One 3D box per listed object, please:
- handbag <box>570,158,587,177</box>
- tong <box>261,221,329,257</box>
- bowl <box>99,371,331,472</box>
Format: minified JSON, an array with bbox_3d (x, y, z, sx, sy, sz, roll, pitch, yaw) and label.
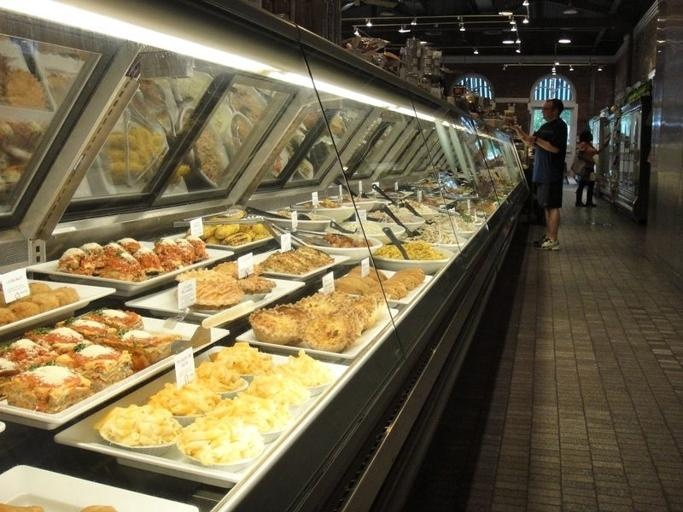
[{"bbox_3d":[6.063,-2.257,10.948,0.322,0.475,0.636,5,16,23],"label":"handbag"},{"bbox_3d":[-0.166,-0.057,1.536,0.271,0.045,0.043,22,25,20],"label":"tong"},{"bbox_3d":[-0.252,0.297,0.809,0.293,0.074,0.218,1,14,11],"label":"bowl"}]
